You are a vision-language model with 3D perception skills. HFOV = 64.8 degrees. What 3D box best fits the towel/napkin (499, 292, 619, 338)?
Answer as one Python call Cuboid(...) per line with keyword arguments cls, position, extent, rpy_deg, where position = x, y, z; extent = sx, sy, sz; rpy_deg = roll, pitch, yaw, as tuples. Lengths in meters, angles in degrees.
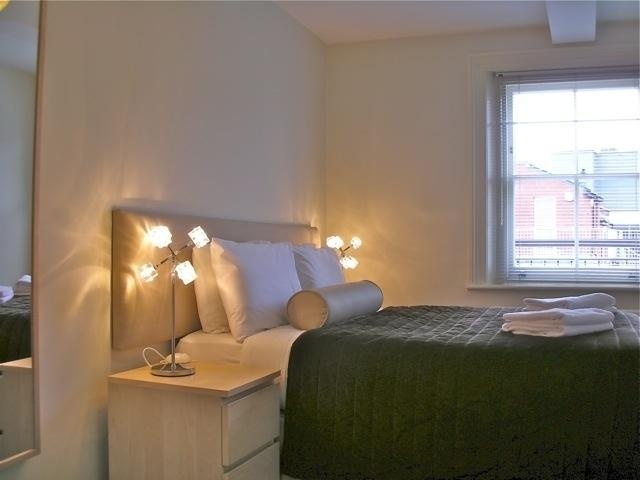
Cuboid(cls="towel/napkin", position=(1.087, 0.384, 2.441), extent=(0.316, 0.129, 0.365), rpy_deg=(1, -9, -27))
